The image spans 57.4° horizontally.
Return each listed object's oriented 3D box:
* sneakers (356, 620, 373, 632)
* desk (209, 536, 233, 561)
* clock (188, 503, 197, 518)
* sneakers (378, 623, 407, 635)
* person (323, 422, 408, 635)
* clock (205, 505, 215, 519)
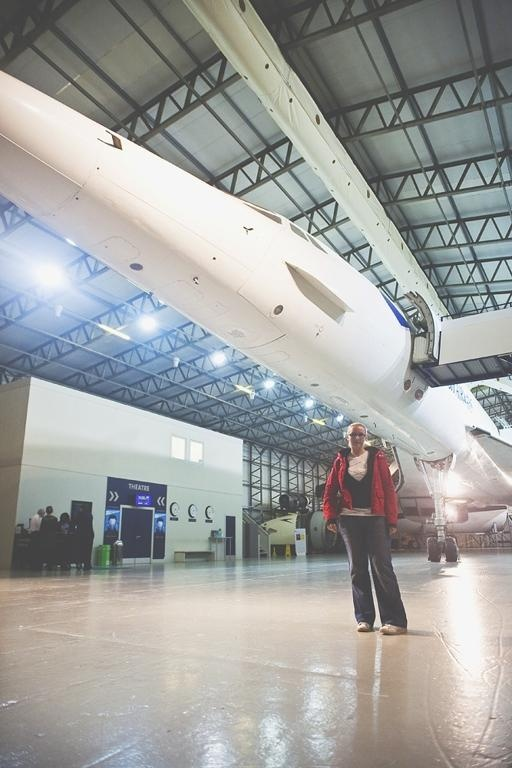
[{"bbox_3d":[0.764,1.703,3.291,0.121,0.053,0.101,0,-11,2],"label":"sneakers"},{"bbox_3d":[-1.688,7.505,21.542,0.439,1.076,1.275,-16,-24,33],"label":"desk"},{"bbox_3d":[-2.788,5.459,20.339,0.100,0.734,0.597,-6,-16,31],"label":"clock"},{"bbox_3d":[0.944,1.671,3.206,0.189,0.053,0.119,-1,-11,3],"label":"sneakers"},{"bbox_3d":[0.848,1.084,3.688,0.594,1.645,0.843,1,-11,-5],"label":"person"},{"bbox_3d":[-2.134,5.764,21.264,0.098,0.744,0.649,-11,-14,28],"label":"clock"}]
